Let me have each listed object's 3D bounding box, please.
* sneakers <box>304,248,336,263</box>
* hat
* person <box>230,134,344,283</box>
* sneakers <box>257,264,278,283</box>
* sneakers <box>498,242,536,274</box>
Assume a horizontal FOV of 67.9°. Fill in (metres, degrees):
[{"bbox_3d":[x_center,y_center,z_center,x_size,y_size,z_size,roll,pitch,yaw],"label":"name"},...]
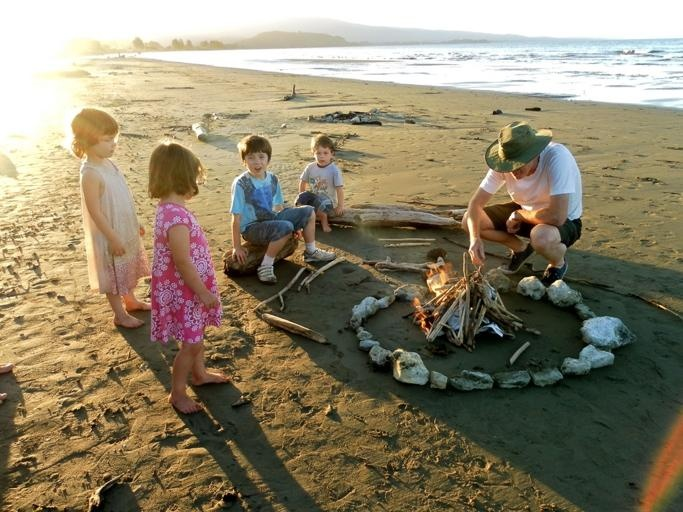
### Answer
[{"bbox_3d":[-0.246,0.000,5.978,0.456,0.134,0.139,-2,19,-1],"label":"sneakers"},{"bbox_3d":[1.760,-1.059,5.071,0.587,0.541,0.533,7,25,17],"label":"hat"},{"bbox_3d":[-0.806,-0.547,5.658,1.081,1.569,0.793,-21,33,-35],"label":"person"},{"bbox_3d":[-0.815,0.204,5.610,0.204,0.172,0.186,-4,24,-8],"label":"sneakers"},{"bbox_3d":[2.002,0.045,5.710,0.220,0.528,0.180,43,22,-15],"label":"sneakers"}]
